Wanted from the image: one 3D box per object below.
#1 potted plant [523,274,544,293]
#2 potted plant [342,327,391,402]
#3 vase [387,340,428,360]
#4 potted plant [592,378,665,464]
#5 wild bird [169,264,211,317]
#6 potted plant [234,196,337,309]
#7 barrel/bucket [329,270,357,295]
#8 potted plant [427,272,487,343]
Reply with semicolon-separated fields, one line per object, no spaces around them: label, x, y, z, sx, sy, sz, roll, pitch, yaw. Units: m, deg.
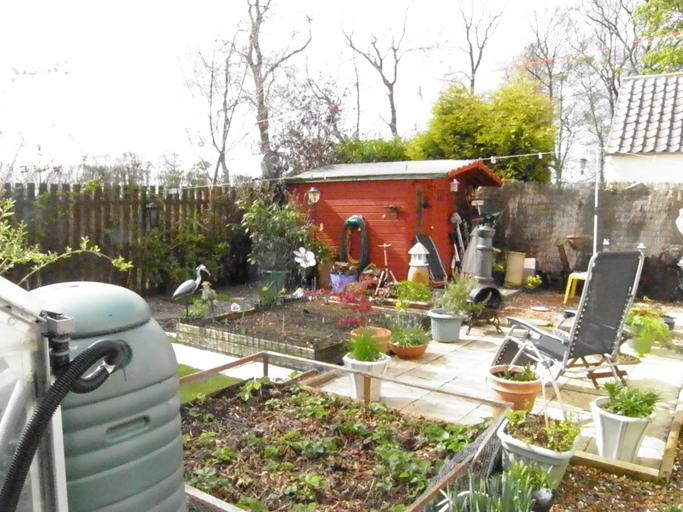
potted plant;3.782;0.507;11.714;0.351;0.347;0.319;-17;20;-42
potted plant;0.206;1.059;5.647;0.382;0.654;0.412;-1;-4;-36
vase;0.766;1.077;6.805;0.422;0.209;0.281;-2;7;0
potted plant;2.212;1.267;4.539;0.467;0.613;0.450;6;7;30
wild bird;-1.655;0.399;6.481;0.415;0.631;0.135;-1;13;-24
potted plant;-0.863;0.144;11.055;1.963;2.090;1.589;14;-10;-26
barrel/bucket;-0.026;0.465;10.803;0.381;0.265;0.341;-1;-2;37
potted plant;1.471;0.698;7.848;0.495;0.752;0.941;1;7;23
